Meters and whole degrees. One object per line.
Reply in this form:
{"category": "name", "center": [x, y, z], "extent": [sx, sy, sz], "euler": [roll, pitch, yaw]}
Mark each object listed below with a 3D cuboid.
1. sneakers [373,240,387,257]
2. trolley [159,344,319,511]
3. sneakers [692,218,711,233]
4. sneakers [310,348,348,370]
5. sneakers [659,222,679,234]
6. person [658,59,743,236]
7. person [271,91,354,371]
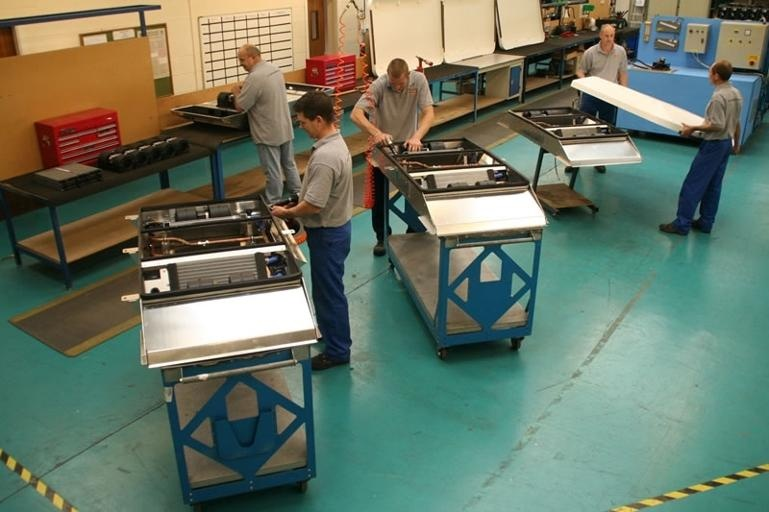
{"category": "sneakers", "center": [-0.054, -0.082, 6.656], "extent": [0.109, 0.114, 0.191], "euler": [0, 26, -2]}
{"category": "trolley", "center": [-1.088, 1.099, 4.459], "extent": [1.242, 1.021, 1.210], "euler": [-9, 34, -17]}
{"category": "sneakers", "center": [3.836, -0.354, 7.109], "extent": [0.102, 0.113, 0.276], "euler": [-7, 28, -4]}
{"category": "sneakers", "center": [-0.499, 0.909, 5.242], "extent": [0.351, 0.137, 0.137], "euler": [-4, 39, -13]}
{"category": "sneakers", "center": [3.439, -0.343, 7.099], "extent": [0.182, 0.068, 0.102], "euler": [9, 38, 24]}
{"category": "person", "center": [3.704, -1.214, 6.792], "extent": [0.724, 1.935, 0.384], "euler": [-12, 25, -17]}
{"category": "person", "center": [-0.522, -0.143, 4.899], "extent": [0.420, 2.338, 0.618], "euler": [11, 28, 30]}
